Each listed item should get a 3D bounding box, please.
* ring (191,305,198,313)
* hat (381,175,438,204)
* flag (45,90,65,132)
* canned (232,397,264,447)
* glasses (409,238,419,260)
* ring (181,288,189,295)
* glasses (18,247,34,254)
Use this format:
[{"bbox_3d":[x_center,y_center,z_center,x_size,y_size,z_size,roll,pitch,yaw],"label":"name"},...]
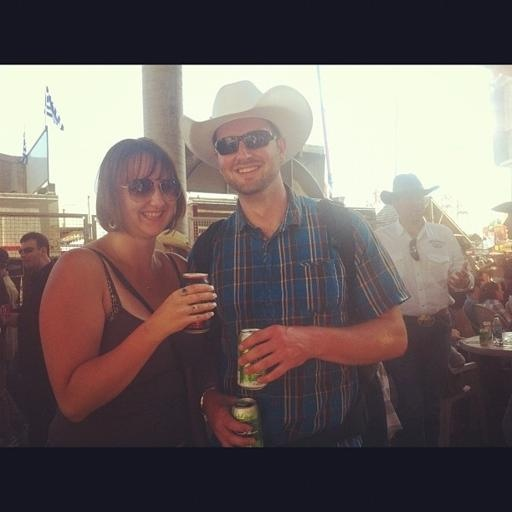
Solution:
[{"bbox_3d":[-0.346,0.294,2.610,0.023,0.042,0.057,-3,2,-36],"label":"ring"},{"bbox_3d":[0.877,-0.403,2.642,0.184,0.095,0.237,-8,-11,0],"label":"hat"},{"bbox_3d":[-1.192,-0.869,2.738,0.123,0.260,0.028,-2,1,18],"label":"flag"},{"bbox_3d":[-0.046,0.894,2.484,0.165,0.190,0.109,-3,2,-15],"label":"canned"},{"bbox_3d":[0.926,-0.044,2.755,0.021,0.110,0.072,-10,-26,5],"label":"glasses"},{"bbox_3d":[-0.412,0.198,2.644,0.033,0.039,0.009,-8,-22,30],"label":"ring"},{"bbox_3d":[-1.306,-0.033,2.634,0.041,0.020,0.049,-1,-11,1],"label":"glasses"}]
